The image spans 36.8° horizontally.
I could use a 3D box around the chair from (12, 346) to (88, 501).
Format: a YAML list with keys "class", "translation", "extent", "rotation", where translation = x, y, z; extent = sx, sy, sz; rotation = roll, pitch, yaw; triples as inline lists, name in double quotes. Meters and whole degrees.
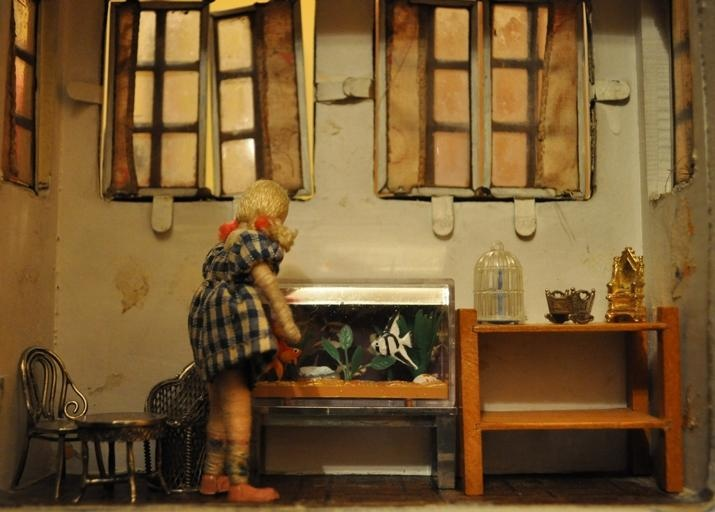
- class: "chair"
  translation: [-1.839, 0.987, 6.470]
  extent: [0.435, 0.879, 0.615]
  rotation: [0, -4, -15]

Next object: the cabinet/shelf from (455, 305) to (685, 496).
- class: "cabinet/shelf"
  translation: [1.257, 0.907, 6.674]
  extent: [1.307, 1.113, 0.766]
  rotation: [-1, -5, 1]

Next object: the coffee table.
- class: "coffee table"
  translation: [-1.353, 1.129, 6.256]
  extent: [0.469, 0.453, 0.505]
  rotation: [1, 1, 10]

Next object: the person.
- class: "person"
  translation: [-0.663, 0.489, 6.234]
  extent: [0.660, 1.850, 0.307]
  rotation: [-1, -4, 2]
